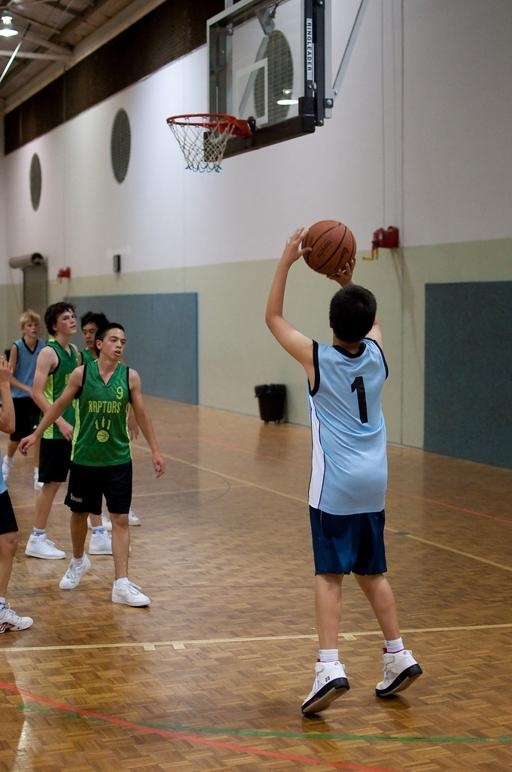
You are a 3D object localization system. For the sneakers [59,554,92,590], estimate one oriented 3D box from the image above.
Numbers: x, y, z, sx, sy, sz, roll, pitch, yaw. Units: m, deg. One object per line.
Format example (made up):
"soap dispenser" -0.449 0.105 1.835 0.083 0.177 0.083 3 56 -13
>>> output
"sneakers" -0.996 1.028 3.327 0.147 0.177 0.252 -2 -5 14

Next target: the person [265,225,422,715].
"person" 0.268 0.255 1.742 0.277 1.463 0.506 -4 -6 44

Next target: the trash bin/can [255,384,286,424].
"trash bin/can" 0.256 0.328 9.854 0.540 0.654 0.583 -1 -6 0

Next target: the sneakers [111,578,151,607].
"sneakers" -0.641 1.037 3.042 0.257 0.135 0.091 4 2 31
